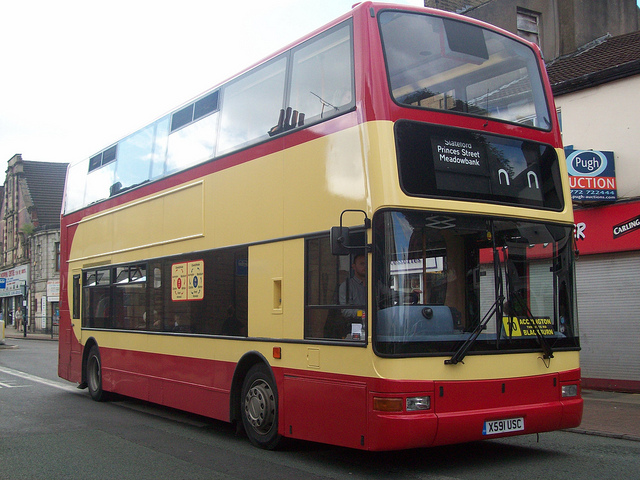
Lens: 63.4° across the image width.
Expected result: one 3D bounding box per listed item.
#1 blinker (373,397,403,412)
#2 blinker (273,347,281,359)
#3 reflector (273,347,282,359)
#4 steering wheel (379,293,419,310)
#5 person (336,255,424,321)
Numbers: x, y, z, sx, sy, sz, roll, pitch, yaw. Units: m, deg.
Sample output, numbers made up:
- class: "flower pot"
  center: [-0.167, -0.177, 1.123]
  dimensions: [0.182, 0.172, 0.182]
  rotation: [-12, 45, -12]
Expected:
- class: "blinker"
  center: [0.759, 1.849, 5.819]
  dimensions: [0.328, 0.157, 0.063]
  rotation: [-3, -7, 15]
- class: "blinker"
  center: [-0.601, 1.586, 7.300]
  dimensions: [0.047, 0.165, 0.151]
  rotation: [5, -8, -33]
- class: "reflector"
  center: [-0.599, 1.589, 7.298]
  dimensions: [0.050, 0.186, 0.153]
  rotation: [7, -10, -35]
- class: "steering wheel"
  center: [0.906, 0.703, 5.959]
  dimensions: [0.474, 0.183, 0.061]
  rotation: [2, -7, -16]
- class: "person"
  center: [0.743, 0.567, 6.084]
  dimensions: [1.170, 0.768, 0.649]
  rotation: [1, 12, 40]
